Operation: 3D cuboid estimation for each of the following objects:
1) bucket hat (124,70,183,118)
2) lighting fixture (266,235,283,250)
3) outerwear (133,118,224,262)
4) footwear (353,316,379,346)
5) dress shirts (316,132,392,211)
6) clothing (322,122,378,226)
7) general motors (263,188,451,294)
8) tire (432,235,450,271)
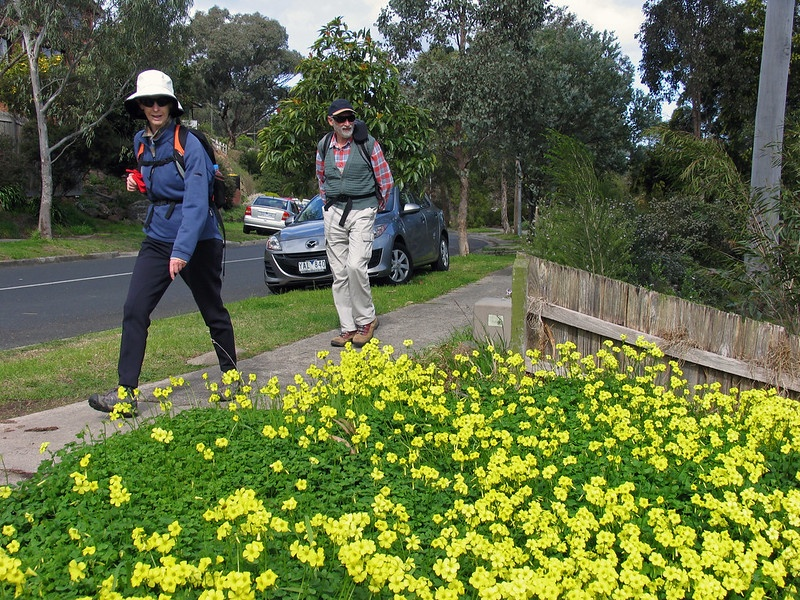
[{"bbox_3d":[-1.901,-1.574,4.514,0.371,0.280,0.439,-7,-4,-12],"label":"bucket hat"},{"bbox_3d":[-2.101,-0.957,10.051,0.195,0.321,0.102,0,1,28],"label":"lighting fixture"},{"bbox_3d":[-1.697,-0.819,4.395,0.587,0.999,0.514,-3,11,-6],"label":"outerwear"},{"bbox_3d":[-0.317,0.333,6.242,0.126,0.190,0.417,10,56,28],"label":"footwear"},{"bbox_3d":[-0.514,-1.365,6.114,0.739,0.868,0.454,-1,19,8],"label":"dress shirts"},{"bbox_3d":[-0.531,-1.300,6.152,0.553,1.011,0.526,-1,7,5],"label":"clothing"},{"bbox_3d":[-0.527,-1.010,11.014,1.812,1.562,3.313,-1,5,24],"label":"general motors"},{"bbox_3d":[0.881,-1.018,12.790,0.207,0.714,0.649,-7,-11,23],"label":"tire"}]
